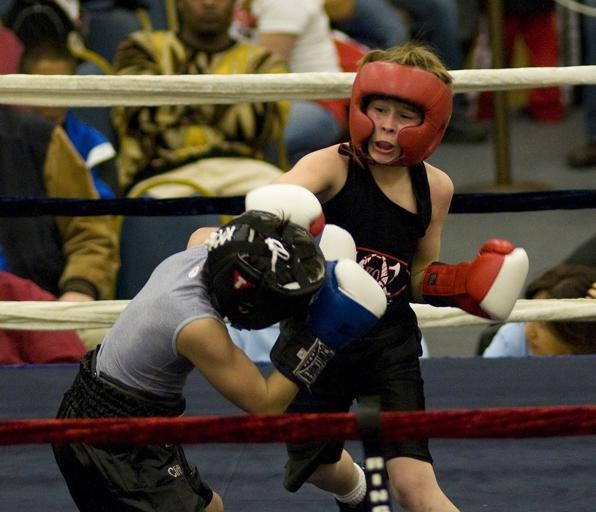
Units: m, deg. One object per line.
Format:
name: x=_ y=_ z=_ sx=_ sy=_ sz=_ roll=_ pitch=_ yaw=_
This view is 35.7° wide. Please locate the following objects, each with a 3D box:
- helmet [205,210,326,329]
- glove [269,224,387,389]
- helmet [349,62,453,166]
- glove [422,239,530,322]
helmet: x=-0.070 y=0.035 z=2.014 sx=0.251 sy=0.225 sz=0.185 roll=-1 pitch=42 yaw=-3
glove: x=0.057 y=0.129 z=2.033 sx=0.179 sy=0.336 sz=0.249 roll=19 pitch=39 yaw=-43
helmet: x=0.237 y=-0.326 z=2.183 sx=0.239 sy=0.265 sz=0.196 roll=6 pitch=43 yaw=5
glove: x=0.426 y=0.068 z=2.285 sx=0.247 sy=0.224 sz=0.194 roll=12 pitch=43 yaw=12
